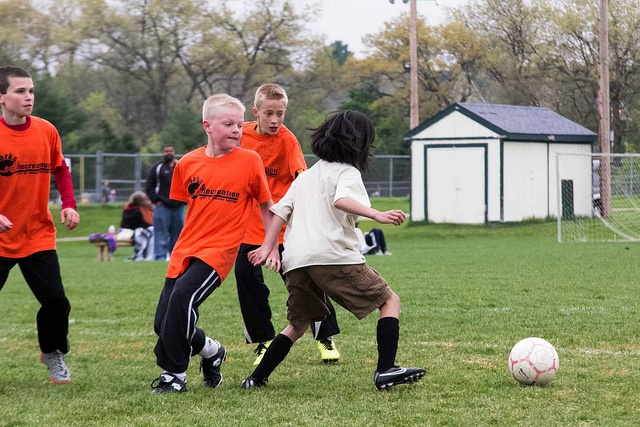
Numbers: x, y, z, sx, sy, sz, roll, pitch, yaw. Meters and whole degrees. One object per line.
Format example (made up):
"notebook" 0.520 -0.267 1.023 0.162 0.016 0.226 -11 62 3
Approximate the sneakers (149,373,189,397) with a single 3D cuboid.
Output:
"sneakers" -2.213 2.484 15.281 0.544 0.286 0.247 0 13 0

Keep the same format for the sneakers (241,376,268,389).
"sneakers" -0.972 2.522 15.481 0.344 0.124 0.158 7 -13 -8

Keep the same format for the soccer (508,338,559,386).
"soccer" 3.162 2.185 15.329 0.712 0.639 0.335 2 14 10
